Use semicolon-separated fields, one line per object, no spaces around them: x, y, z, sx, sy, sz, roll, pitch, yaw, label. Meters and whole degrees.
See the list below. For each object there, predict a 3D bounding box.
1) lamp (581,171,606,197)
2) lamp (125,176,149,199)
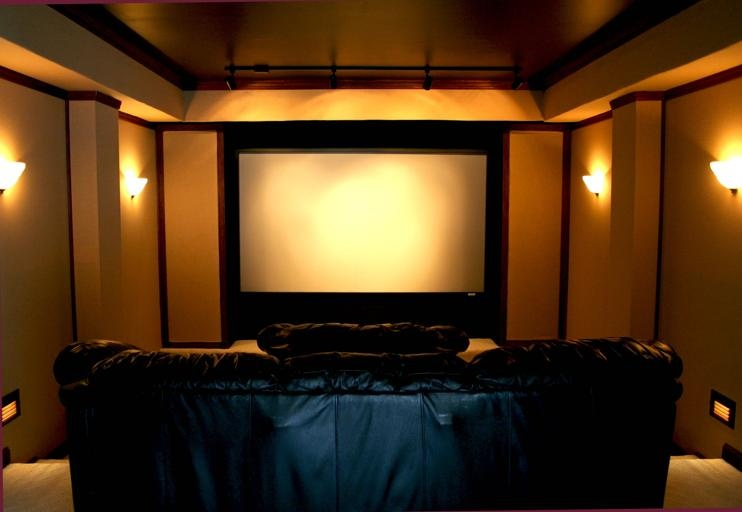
2.469;-0.765;6.758;0.310;0.323;0.225;-4;-9;24;lamp
-2.525;-0.731;6.683;0.222;0.218;0.229;1;2;3;lamp
